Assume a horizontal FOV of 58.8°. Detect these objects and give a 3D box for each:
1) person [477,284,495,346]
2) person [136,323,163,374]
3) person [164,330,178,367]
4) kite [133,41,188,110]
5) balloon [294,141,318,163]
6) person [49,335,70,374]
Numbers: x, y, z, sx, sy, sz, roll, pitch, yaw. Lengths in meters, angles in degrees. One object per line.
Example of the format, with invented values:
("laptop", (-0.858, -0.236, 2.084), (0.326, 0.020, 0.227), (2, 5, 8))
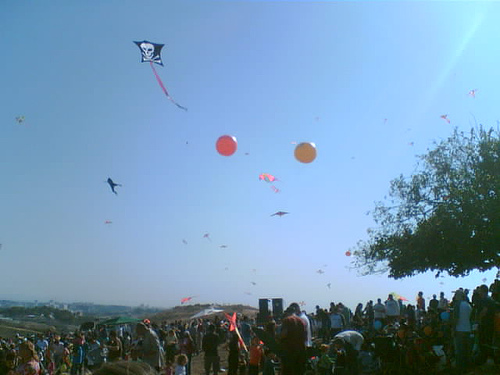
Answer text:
("person", (6.748, 3.813, 12.717), (0.414, 1.363, 0.760), (0, -24, 12))
("person", (-2.745, 4.430, 12.251), (0.856, 1.234, 0.829), (11, -24, -12))
("person", (-2.958, 6.054, 16.638), (0.439, 1.145, 2.569), (8, -25, -7))
("kite", (-2.979, -3.687, 14.330), (1.315, 0.335, 3.022), (9, -29, 3))
("balloon", (1.842, -1.124, 14.562), (0.638, 0.624, 0.376), (6, -23, -2))
("person", (-7.062, 6.223, 16.618), (0.690, 1.406, 4.121), (13, -26, -17))
